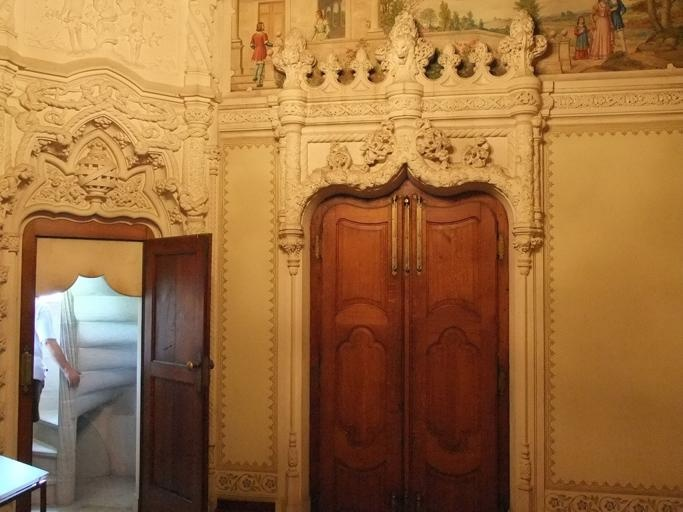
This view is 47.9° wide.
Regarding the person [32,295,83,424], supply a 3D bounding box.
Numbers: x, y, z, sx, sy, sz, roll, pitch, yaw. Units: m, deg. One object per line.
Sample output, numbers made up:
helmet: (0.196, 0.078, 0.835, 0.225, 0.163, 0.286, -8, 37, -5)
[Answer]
person: (-2.817, 1.002, 7.639, 0.432, 1.192, 0.991, 2, -8, -21)
